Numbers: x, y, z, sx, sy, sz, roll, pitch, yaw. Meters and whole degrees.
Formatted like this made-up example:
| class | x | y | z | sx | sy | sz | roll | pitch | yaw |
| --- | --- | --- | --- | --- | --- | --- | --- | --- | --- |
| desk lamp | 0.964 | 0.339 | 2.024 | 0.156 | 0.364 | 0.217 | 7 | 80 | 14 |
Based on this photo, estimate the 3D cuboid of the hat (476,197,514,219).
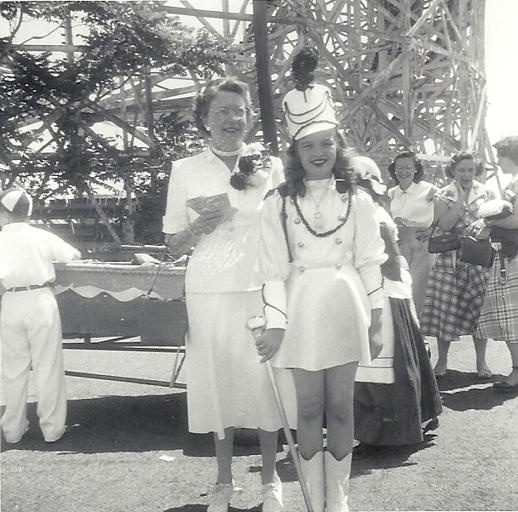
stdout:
| class | x | y | z | sx | sy | sz | roll | pitch | yaw |
| --- | --- | --- | --- | --- | --- | --- | --- | --- | --- |
| hat | 2.033 | -0.397 | 6.469 | 0.280 | 0.169 | 0.190 | -1 | 6 | 16 |

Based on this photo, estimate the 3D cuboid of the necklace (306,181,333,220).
| class | x | y | z | sx | sy | sz | roll | pitch | yaw |
| --- | --- | --- | --- | --- | --- | --- | --- | --- | --- |
| necklace | 0.319 | -0.284 | 3.957 | 0.170 | 0.165 | 0.250 | -2 | 47 | 7 |

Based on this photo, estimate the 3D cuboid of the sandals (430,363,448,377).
| class | x | y | z | sx | sy | sz | roll | pitch | yaw |
| --- | --- | --- | --- | --- | --- | --- | --- | --- | --- |
| sandals | 1.688 | 1.058 | 7.033 | 0.099 | 0.110 | 0.293 | -10 | -18 | 16 |

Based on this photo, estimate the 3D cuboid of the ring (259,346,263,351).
| class | x | y | z | sx | sy | sz | roll | pitch | yaw |
| --- | --- | --- | --- | --- | --- | --- | --- | --- | --- |
| ring | 0.011 | 0.461 | 3.782 | 0.006 | 0.018 | 0.022 | 2 | 9 | -28 |

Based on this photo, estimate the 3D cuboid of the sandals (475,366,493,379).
| class | x | y | z | sx | sy | sz | roll | pitch | yaw |
| --- | --- | --- | --- | --- | --- | --- | --- | --- | --- |
| sandals | 2.068 | 1.062 | 6.934 | 0.123 | 0.063 | 0.274 | -3 | -3 | 4 |

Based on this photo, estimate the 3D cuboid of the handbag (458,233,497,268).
| class | x | y | z | sx | sy | sz | roll | pitch | yaw |
| --- | --- | --- | --- | --- | --- | --- | --- | --- | --- |
| handbag | 1.852 | -0.053 | 6.473 | 0.303 | 0.252 | 0.081 | 10 | 6 | 37 |

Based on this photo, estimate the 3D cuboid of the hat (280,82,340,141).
| class | x | y | z | sx | sy | sz | roll | pitch | yaw |
| --- | --- | --- | --- | --- | --- | --- | --- | --- | --- |
| hat | 0.271 | -0.779 | 4.056 | 0.293 | 0.200 | 0.329 | -9 | 11 | 4 |

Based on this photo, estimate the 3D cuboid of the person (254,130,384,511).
| class | x | y | z | sx | sy | sz | roll | pitch | yaw |
| --- | --- | --- | --- | --- | --- | --- | --- | --- | --- |
| person | 0.346 | 0.346 | 3.946 | 0.655 | 2.019 | 0.437 | -2 | 7 | 8 |
